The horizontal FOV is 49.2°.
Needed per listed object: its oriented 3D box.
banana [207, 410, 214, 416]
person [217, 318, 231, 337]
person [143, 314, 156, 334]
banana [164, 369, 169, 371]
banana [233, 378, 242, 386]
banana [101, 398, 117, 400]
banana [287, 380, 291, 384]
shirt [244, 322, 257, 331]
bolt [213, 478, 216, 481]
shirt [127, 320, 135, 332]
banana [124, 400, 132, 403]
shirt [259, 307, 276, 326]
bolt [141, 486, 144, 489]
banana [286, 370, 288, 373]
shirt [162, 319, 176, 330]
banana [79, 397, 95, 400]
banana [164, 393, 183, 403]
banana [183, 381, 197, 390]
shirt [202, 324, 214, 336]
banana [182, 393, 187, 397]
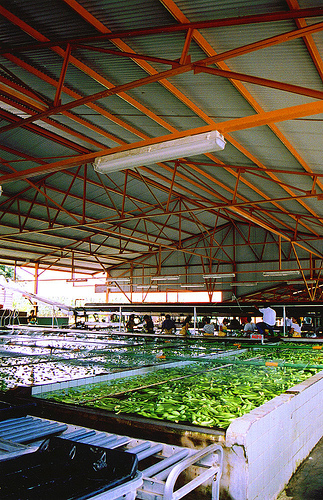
[{"bbox_3d":[0.338,1.125,2.453,0.014,0.019,0.064,20,7,33],"label":"banana"},{"bbox_3d":[1.910,2.423,10.690,0.408,0.276,0.947,5,30,8],"label":"person"},{"bbox_3d":[-0.397,2.458,11.799,0.350,0.554,1.220,-1,-10,-3],"label":"person"},{"bbox_3d":[0.062,1.500,4.432,0.043,0.010,0.041,2,-4,19],"label":"banana"},{"bbox_3d":[0.770,1.324,3.539,0.091,0.036,0.095,3,0,13],"label":"banana"},{"bbox_3d":[-0.424,1.183,2.804,0.102,0.004,0.061,-3,-10,6],"label":"banana"},{"bbox_3d":[1.324,1.349,3.626,0.037,0.033,0.008,-7,-38,22],"label":"banana"},{"bbox_3d":[2.783,2.372,10.936,0.257,0.152,0.320,3,0,12],"label":"shirt"},{"bbox_3d":[0.275,1.168,1.800,0.009,0.009,0.011,0,-19,-16],"label":"bolt"},{"bbox_3d":[-1.057,2.584,12.128,0.109,0.371,0.390,8,10,-11],"label":"shirt"},{"bbox_3d":[-0.257,1.169,2.725,0.015,0.017,0.069,-25,-20,40],"label":"banana"},{"bbox_3d":[2.877,1.740,9.303,0.410,0.482,0.415,0,-10,-8],"label":"shirt"},{"bbox_3d":[-0.087,1.132,1.685,0.007,0.013,0.007,1,-3,23],"label":"bolt"},{"bbox_3d":[1.541,1.476,4.285,0.014,0.018,0.024,-20,7,23],"label":"banana"},{"bbox_3d":[0.252,2.317,11.462,0.492,0.450,0.270,1,-1,18],"label":"shirt"},{"bbox_3d":[-0.606,1.194,2.846,0.122,0.005,0.083,-1,-10,-2],"label":"banana"},{"bbox_3d":[0.098,1.192,2.858,0.135,0.010,0.335,0,-10,-7],"label":"banana"},{"bbox_3d":[0.283,1.289,3.379,0.073,0.018,0.080,0,1,37],"label":"banana"},{"bbox_3d":[1.448,2.359,10.623,0.373,0.349,0.211,1,-3,32],"label":"shirt"},{"bbox_3d":[0.193,1.209,2.951,0.049,0.024,0.010,2,-7,-31],"label":"banana"}]
